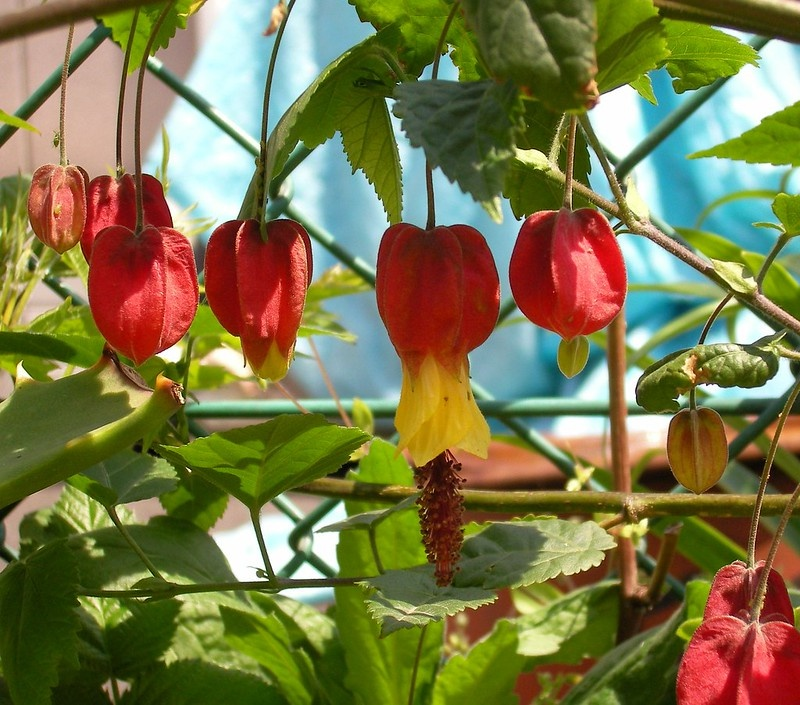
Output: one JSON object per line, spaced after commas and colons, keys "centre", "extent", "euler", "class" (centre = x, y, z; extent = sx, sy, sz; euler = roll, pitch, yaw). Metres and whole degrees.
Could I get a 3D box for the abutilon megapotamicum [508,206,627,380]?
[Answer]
{"centre": [0.106, -0.035, 0.655], "extent": [0.076, 0.113, 0.076], "euler": [8, 18, 36], "class": "abutilon megapotamicum"}
